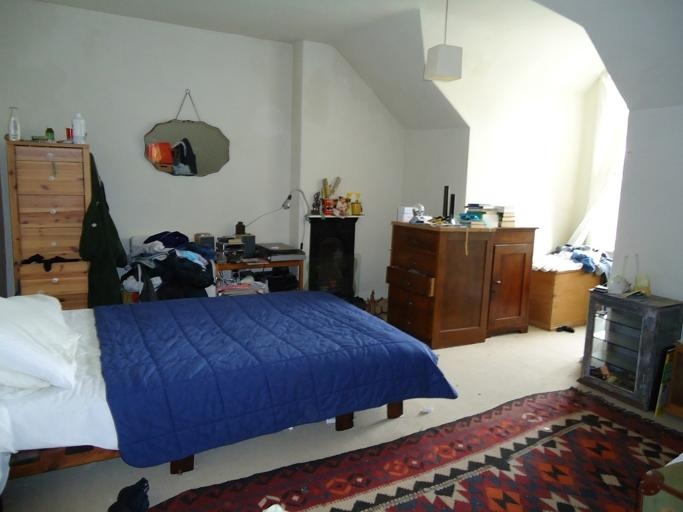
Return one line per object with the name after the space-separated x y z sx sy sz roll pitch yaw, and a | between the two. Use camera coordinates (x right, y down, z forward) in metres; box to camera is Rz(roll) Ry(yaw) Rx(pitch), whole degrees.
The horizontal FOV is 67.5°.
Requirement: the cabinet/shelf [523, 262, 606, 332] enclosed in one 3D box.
2.495 0.385 5.920 1.101 0.808 0.600 -5 9 -26 | cabinet/shelf

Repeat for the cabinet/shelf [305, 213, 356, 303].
-0.122 -0.014 6.012 0.536 0.947 0.222 1 3 -7 | cabinet/shelf

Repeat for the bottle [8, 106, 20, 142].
-2.891 -1.173 4.513 0.099 0.318 0.426 -5 11 -31 | bottle

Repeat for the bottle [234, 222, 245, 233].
-1.111 -0.308 5.557 0.095 0.129 0.117 -1 12 -17 | bottle

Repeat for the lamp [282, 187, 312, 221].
-0.510 -0.602 5.838 0.349 0.361 0.091 4 10 22 | lamp

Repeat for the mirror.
-1.645 -1.145 5.302 0.683 0.492 0.033 -2 8 -33 | mirror

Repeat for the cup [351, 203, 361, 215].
0.201 -0.561 6.043 0.083 0.142 0.236 5 10 24 | cup

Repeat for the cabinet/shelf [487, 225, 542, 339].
1.624 0.231 5.581 0.652 1.124 0.653 -1 8 -31 | cabinet/shelf

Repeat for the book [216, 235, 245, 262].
-1.162 -0.071 5.342 0.216 0.285 0.298 -2 4 -31 | book

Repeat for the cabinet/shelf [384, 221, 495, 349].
0.997 0.255 5.412 0.820 1.132 0.931 -1 8 -32 | cabinet/shelf
